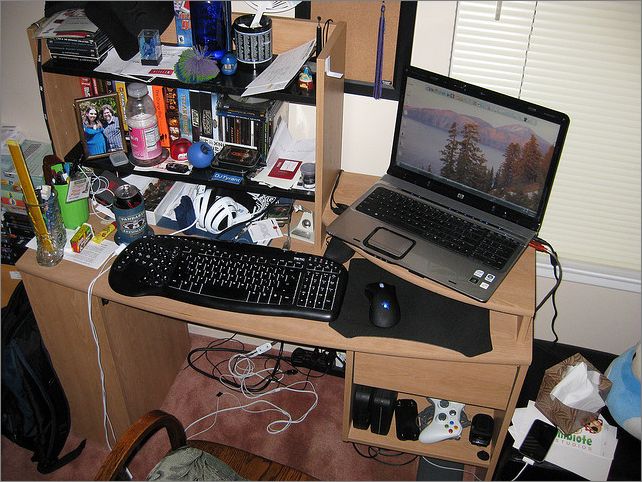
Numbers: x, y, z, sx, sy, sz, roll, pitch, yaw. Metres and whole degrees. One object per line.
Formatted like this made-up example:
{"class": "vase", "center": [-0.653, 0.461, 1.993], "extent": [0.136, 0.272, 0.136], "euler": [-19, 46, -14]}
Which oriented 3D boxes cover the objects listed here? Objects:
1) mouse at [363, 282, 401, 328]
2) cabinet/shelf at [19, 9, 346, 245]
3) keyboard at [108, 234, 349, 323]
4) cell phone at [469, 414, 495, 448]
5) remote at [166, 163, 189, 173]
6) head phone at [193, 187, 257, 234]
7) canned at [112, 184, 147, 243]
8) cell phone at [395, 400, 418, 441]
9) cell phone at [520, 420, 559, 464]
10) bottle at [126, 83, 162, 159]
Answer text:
{"class": "mouse", "center": [0.217, 0.222, 1.766], "extent": [0.111, 0.105, 0.132], "euler": [-4, 32, -13]}
{"class": "cabinet/shelf", "center": [-0.511, -0.439, 1.932], "extent": [0.913, 0.664, 0.355], "euler": [9, 50, 9]}
{"class": "keyboard", "center": [-0.343, 0.122, 1.834], "extent": [0.853, 0.125, 0.236], "euler": [7, 31, 6]}
{"class": "cell phone", "center": [0.628, 0.749, 1.998], "extent": [0.087, 0.123, 0.124], "euler": [12, 3, 14]}
{"class": "remote", "center": [-0.561, -0.292, 1.987], "extent": [0.071, 0.016, 0.042], "euler": [4, 46, 7]}
{"class": "head phone", "center": [-0.390, -0.116, 2.020], "extent": [0.179, 0.069, 0.175], "euler": [-15, 38, -21]}
{"class": "canned", "center": [-0.724, -0.096, 1.910], "extent": [0.148, 0.261, 0.146], "euler": [-6, 46, -14]}
{"class": "cell phone", "center": [0.349, 0.730, 2.072], "extent": [0.079, 0.138, 0.140], "euler": [0, 50, 6]}
{"class": "cell phone", "center": [0.814, 0.754, 1.892], "extent": [0.108, 0.020, 0.189], "euler": [26, 83, 28]}
{"class": "bottle", "center": [-0.694, -0.456, 1.993], "extent": [0.134, 0.275, 0.087], "euler": [25, 49, 18]}
